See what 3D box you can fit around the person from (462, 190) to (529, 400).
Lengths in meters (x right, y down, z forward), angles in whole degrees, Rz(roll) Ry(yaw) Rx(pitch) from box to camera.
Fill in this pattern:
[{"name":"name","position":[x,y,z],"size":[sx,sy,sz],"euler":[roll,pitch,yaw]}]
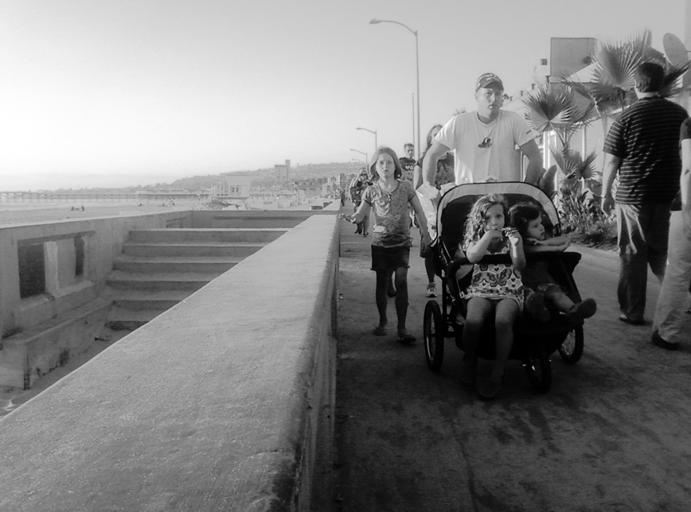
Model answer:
[{"name":"person","position":[1.212,0.296,4.133],"size":[0.475,1.587,0.593],"euler":[1,7,19]}]

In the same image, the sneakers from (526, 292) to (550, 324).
[{"name":"sneakers","position":[1.519,0.410,4.060],"size":[0.172,0.252,0.102],"euler":[15,-36,-34]}]

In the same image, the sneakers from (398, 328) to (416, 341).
[{"name":"sneakers","position":[0.668,0.872,5.486],"size":[0.183,0.146,0.125],"euler":[0,7,8]}]

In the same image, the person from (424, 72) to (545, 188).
[{"name":"person","position":[1.419,-1.127,5.218],"size":[1.072,1.498,0.637],"euler":[1,20,10]}]

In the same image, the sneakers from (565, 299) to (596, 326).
[{"name":"sneakers","position":[1.850,0.447,3.977],"size":[0.248,0.230,0.176],"euler":[-6,8,-34]}]

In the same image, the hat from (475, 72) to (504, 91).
[{"name":"hat","position":[1.398,-1.727,4.898],"size":[0.245,0.158,0.240],"euler":[1,8,15]}]

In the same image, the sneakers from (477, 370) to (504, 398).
[{"name":"sneakers","position":[1.197,1.011,4.165],"size":[0.204,0.211,0.482],"euler":[1,8,16]}]
